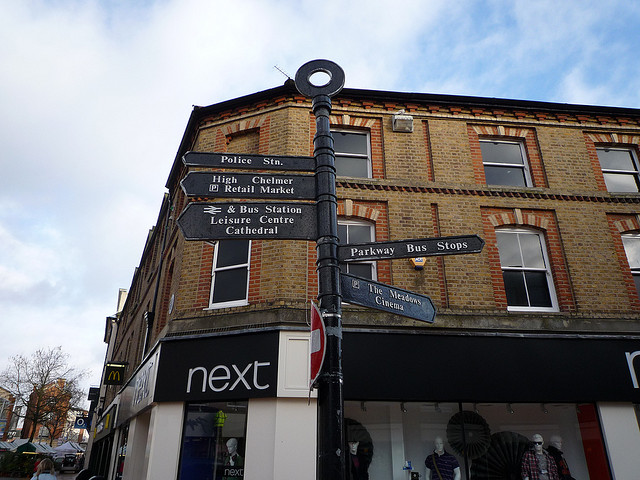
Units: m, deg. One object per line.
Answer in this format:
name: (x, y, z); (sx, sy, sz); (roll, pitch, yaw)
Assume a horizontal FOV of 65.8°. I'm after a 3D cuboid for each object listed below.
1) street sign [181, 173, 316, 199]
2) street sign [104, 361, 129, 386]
street sign: (-1.002, -0.779, 7.055); (1.894, 0.425, 0.168); (0, -28, 0)
street sign: (-7.903, 5.133, 19.036); (0.630, 1.068, 1.439); (17, -33, -27)
